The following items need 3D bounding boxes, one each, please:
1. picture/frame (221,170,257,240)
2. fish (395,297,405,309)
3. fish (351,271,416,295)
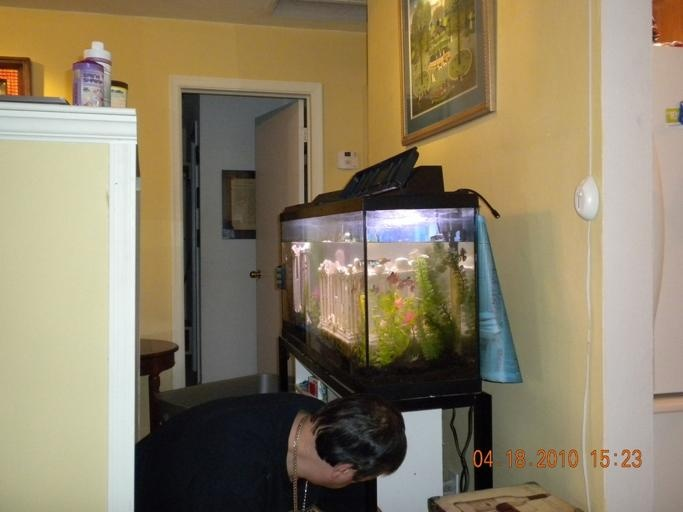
[{"bbox_3d":[-0.842,-0.422,5.047,0.265,0.419,0.066,-1,0,-15],"label":"picture/frame"},{"bbox_3d":[0.185,0.147,1.996,0.031,0.035,0.029,18,-4,-25],"label":"fish"},{"bbox_3d":[0.151,0.083,1.985,0.168,0.059,0.005,-1,0,-14],"label":"fish"}]
